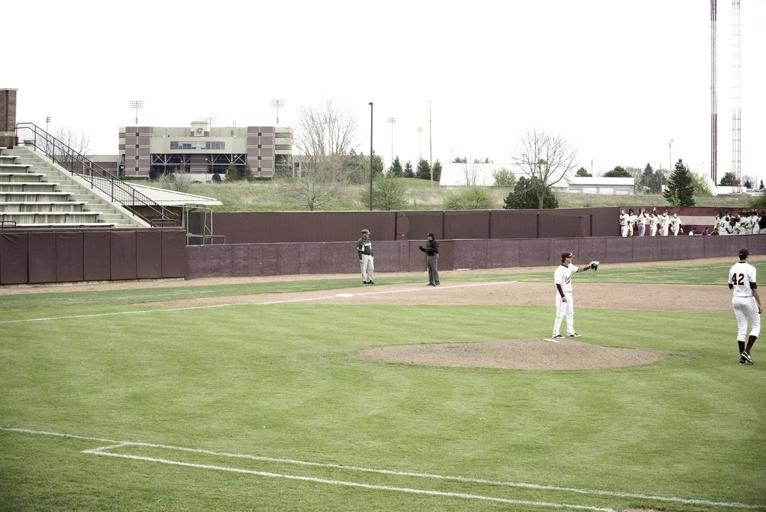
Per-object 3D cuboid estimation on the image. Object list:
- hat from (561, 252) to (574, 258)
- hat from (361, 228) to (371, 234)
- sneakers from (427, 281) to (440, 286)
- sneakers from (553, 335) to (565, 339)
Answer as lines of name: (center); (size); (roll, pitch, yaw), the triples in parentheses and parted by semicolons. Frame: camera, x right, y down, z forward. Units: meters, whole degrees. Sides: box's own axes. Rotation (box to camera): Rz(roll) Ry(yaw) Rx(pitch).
hat: (6.031, -0.037, 38.862); (0.467, 0.120, 0.305); (-5, 7, -42)
hat: (-0.725, -1.149, 56.017); (0.688, 0.202, 0.642); (-1, 4, -4)
sneakers: (2.046, 1.103, 47.859); (0.168, 0.175, 0.475); (-2, 6, -31)
sneakers: (4.992, 2.270, 33.889); (0.204, 0.066, 0.121); (-1, 1, 32)
